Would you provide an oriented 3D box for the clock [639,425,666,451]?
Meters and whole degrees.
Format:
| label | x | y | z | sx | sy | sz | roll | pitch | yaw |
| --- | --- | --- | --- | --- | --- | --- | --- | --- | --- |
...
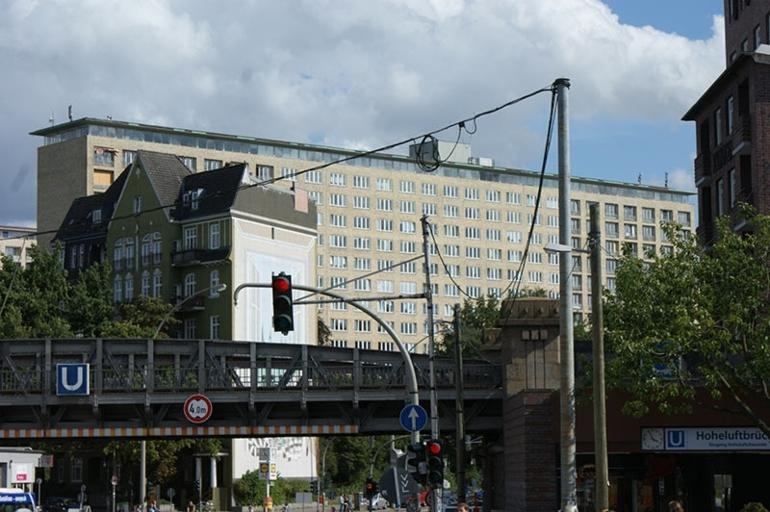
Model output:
| label | x | y | z | sx | sy | sz | roll | pitch | yaw |
| --- | --- | --- | --- | --- | --- | --- | --- | --- | --- |
| clock | 15.920 | 10.871 | 122.612 | 1.296 | 1.407 | 0.141 | 1 | 1 | 8 |

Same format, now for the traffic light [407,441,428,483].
| label | x | y | z | sx | sy | sz | roll | pitch | yaw |
| --- | --- | --- | --- | --- | --- | --- | --- | --- | --- |
| traffic light | 1.758 | 11.715 | 117.108 | 1.258 | 2.280 | 1.098 | -3 | -15 | 6 |

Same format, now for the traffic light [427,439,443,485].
| label | x | y | z | sx | sy | sz | roll | pitch | yaw |
| --- | --- | --- | --- | --- | --- | --- | --- | --- | --- |
| traffic light | 2.736 | 11.608 | 116.720 | 0.894 | 2.531 | 0.975 | -8 | -17 | 24 |

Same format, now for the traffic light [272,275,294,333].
| label | x | y | z | sx | sy | sz | roll | pitch | yaw |
| --- | --- | --- | --- | --- | --- | --- | --- | --- | --- |
| traffic light | -5.971 | 2.499 | 115.568 | 1.029 | 3.353 | 1.262 | 0 | -15 | -5 |
